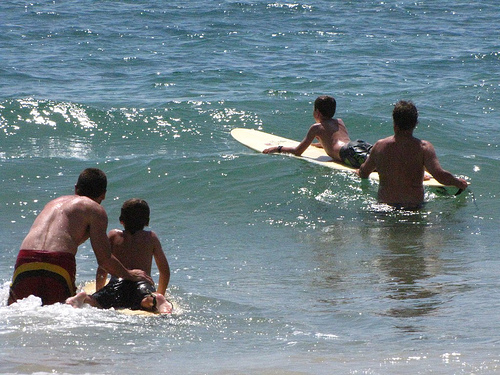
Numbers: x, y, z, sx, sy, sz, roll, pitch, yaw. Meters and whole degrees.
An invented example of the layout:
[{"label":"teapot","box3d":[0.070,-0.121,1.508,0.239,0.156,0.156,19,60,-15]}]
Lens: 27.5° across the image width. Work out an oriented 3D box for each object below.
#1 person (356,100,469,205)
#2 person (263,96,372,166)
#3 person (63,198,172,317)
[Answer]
[{"label":"person","box3d":[2.611,-0.572,16.766,1.525,1.710,0.531,0,4,7]},{"label":"person","box3d":[1.378,-1.043,18.726,2.028,1.259,0.629,1,4,30]},{"label":"person","box3d":[-1.756,0.967,14.380,1.236,1.103,1.816,9,17,-2]}]
